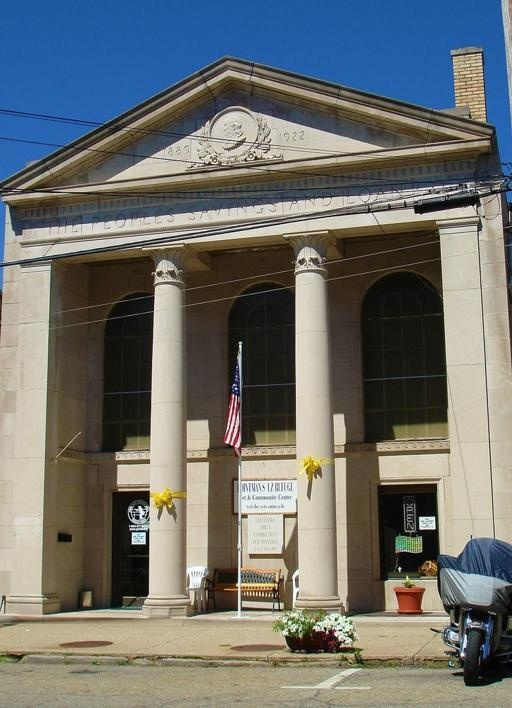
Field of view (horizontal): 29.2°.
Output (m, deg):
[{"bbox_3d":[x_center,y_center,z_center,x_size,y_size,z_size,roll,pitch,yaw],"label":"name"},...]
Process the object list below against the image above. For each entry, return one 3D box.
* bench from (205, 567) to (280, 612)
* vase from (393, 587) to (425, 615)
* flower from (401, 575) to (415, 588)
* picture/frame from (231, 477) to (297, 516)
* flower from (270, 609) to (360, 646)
[{"bbox_3d":[-0.345,6.150,25.652,2.093,1.037,0.586,-6,-13,23],"label":"bench"},{"bbox_3d":[3.662,5.908,23.640,0.691,0.589,0.682,8,-15,-33],"label":"vase"},{"bbox_3d":[3.697,5.539,23.706,0.340,0.415,0.355,0,-7,2],"label":"flower"},{"bbox_3d":[0.345,3.808,26.075,1.472,0.934,0.228,-3,-13,13],"label":"picture/frame"},{"bbox_3d":[0.926,4.311,15.172,1.240,0.584,0.697,-2,-12,8],"label":"flower"}]
